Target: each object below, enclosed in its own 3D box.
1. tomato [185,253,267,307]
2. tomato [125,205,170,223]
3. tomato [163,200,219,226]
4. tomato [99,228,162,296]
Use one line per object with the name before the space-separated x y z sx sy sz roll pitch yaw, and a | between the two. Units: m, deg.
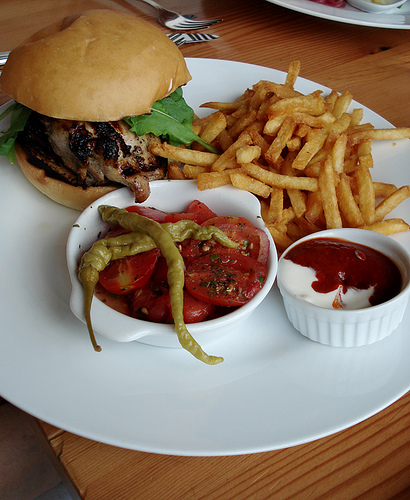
tomato | 0.070 0.111 1.644 0.245 0.067 0.179 11 39 6
tomato | -0.226 -0.148 1.910 0.124 0.024 0.084 7 10 14
tomato | -0.047 -0.141 1.918 0.135 0.046 0.158 8 22 30
tomato | -0.251 0.041 1.579 0.210 0.069 0.171 3 48 0
